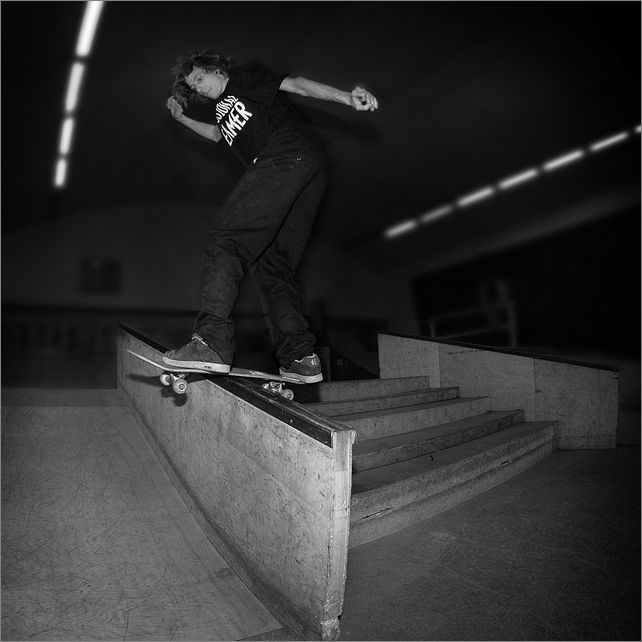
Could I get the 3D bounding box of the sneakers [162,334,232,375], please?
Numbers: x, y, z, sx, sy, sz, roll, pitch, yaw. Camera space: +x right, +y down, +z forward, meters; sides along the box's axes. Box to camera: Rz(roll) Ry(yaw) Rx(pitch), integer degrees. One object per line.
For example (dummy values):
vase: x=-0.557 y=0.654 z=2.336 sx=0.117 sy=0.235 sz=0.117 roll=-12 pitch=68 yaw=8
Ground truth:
sneakers: x=-0.628 y=0.188 z=2.900 sx=0.338 sy=0.204 sz=0.149 roll=12 pitch=-12 yaw=-14

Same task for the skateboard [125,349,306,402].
skateboard: x=-0.694 y=0.336 z=3.429 sx=1.044 sy=0.194 sz=0.301 roll=16 pitch=-4 yaw=-21

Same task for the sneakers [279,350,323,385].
sneakers: x=-0.107 y=0.266 z=3.161 sx=0.115 sy=0.135 sz=0.287 roll=4 pitch=-3 yaw=-35
